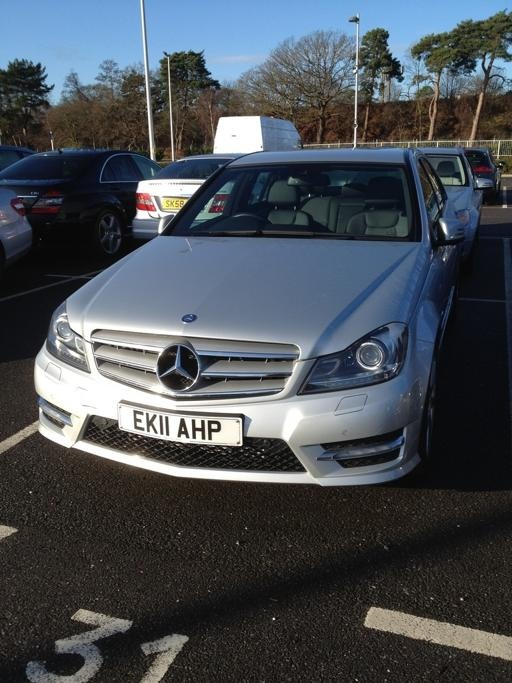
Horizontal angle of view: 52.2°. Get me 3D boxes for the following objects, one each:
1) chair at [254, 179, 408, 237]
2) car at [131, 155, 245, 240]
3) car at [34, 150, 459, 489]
[{"bbox_3d":[0.506,-0.824,3.231,0.598,0.205,0.170,4,50,22],"label":"chair"},{"bbox_3d":[-1.101,-2.598,9.138,1.310,0.854,2.753,4,25,14],"label":"car"},{"bbox_3d":[0.332,-0.417,3.107,1.432,0.939,3.029,4,20,17],"label":"car"}]
